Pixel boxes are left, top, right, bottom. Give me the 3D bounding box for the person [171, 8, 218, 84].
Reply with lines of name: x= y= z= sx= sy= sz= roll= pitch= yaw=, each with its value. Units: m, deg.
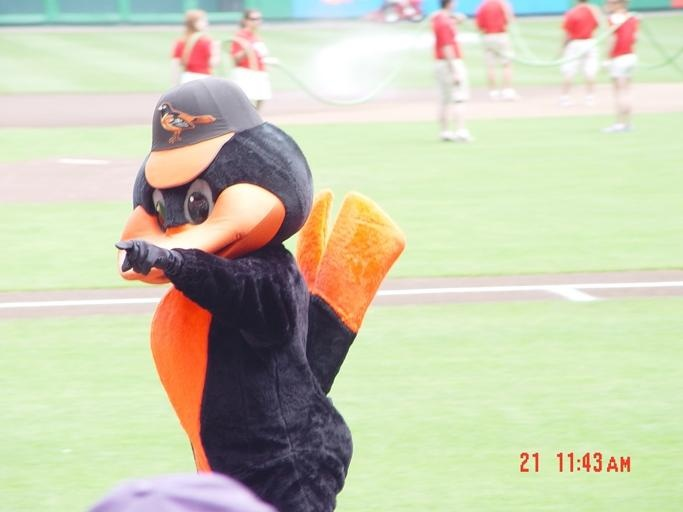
person: x=-1.902 y=-2.672 z=19.053 sx=0.587 sy=1.041 sz=1.288 roll=-5 pitch=19 yaw=-6
